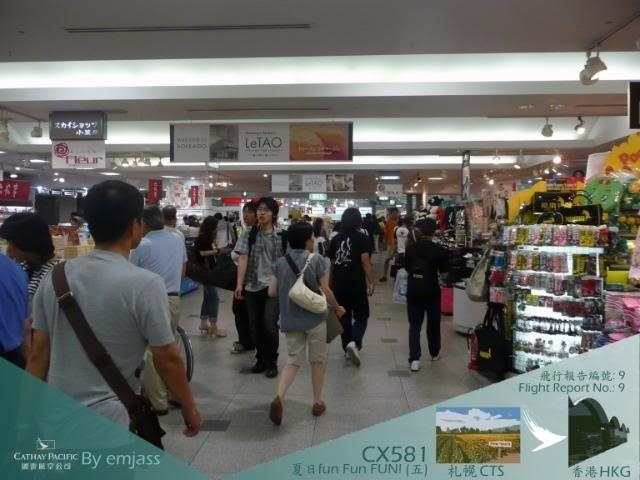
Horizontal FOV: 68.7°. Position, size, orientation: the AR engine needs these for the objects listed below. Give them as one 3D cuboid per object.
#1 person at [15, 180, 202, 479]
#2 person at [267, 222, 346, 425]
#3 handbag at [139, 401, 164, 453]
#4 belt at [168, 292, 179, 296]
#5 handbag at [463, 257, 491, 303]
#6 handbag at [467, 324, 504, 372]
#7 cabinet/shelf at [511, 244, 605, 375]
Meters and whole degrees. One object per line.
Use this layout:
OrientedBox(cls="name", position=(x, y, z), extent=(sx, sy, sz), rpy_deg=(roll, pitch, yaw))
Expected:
OrientedBox(cls="person", position=(-0.925, 0.337, 2.088), extent=(0.760, 1.203, 0.272), rpy_deg=(1, 3, 8))
OrientedBox(cls="person", position=(-0.113, 0.661, 4.040), extent=(0.600, 1.631, 0.778), rpy_deg=(0, 3, -4))
OrientedBox(cls="handbag", position=(-0.737, 0.832, 2.107), extent=(0.085, 0.274, 0.181), rpy_deg=(0, 3, -8))
OrientedBox(cls="belt", position=(-1.259, 0.466, 4.037), extent=(0.040, 0.031, 0.040), rpy_deg=(-1, -4, 15))
OrientedBox(cls="handbag", position=(1.732, 0.449, 5.133), extent=(0.220, 0.508, 0.258), rpy_deg=(3, 4, 35))
OrientedBox(cls="handbag", position=(1.762, 1.177, 4.945), extent=(0.238, 0.561, 0.452), rpy_deg=(1, 3, -1))
OrientedBox(cls="cabinet/shelf", position=(2.259, 0.706, 4.445), extent=(0.232, 1.315, 0.946), rpy_deg=(-1, 4, -28))
